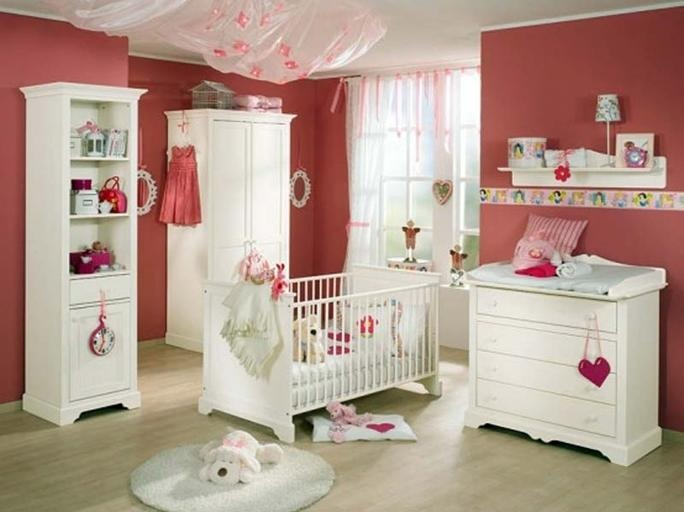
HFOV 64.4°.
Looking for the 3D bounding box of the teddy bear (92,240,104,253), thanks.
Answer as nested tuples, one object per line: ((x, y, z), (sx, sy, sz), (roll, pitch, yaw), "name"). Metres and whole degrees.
((-1.865, -0.065, 4.161), (0.083, 0.079, 0.085), (1, 1, 30), "teddy bear")

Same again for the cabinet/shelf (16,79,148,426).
((-1.920, -0.036, 4.035), (0.809, 2.370, 0.553), (-4, 7, -38), "cabinet/shelf")

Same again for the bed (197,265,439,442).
((-0.164, 0.645, 4.240), (1.571, 0.977, 1.105), (-3, 5, -41), "bed")

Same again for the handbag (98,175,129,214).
((-1.703, -0.448, 4.081), (0.276, 0.263, 0.146), (5, -4, 31), "handbag")

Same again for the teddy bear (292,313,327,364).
((-0.220, 0.579, 3.770), (0.216, 0.350, 0.320), (0, 6, -2), "teddy bear")

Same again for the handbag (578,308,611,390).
((1.570, 0.590, 3.351), (0.178, 0.438, 0.051), (5, 7, 37), "handbag")

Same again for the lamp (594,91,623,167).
((1.881, -0.894, 3.827), (0.172, 0.504, 0.169), (3, 6, 26), "lamp")

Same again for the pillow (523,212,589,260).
((1.611, -0.160, 4.085), (0.439, 0.281, 0.236), (3, 6, 25), "pillow")

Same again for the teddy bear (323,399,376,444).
((0.053, 1.110, 3.695), (0.311, 0.177, 0.366), (1, 6, 3), "teddy bear")
